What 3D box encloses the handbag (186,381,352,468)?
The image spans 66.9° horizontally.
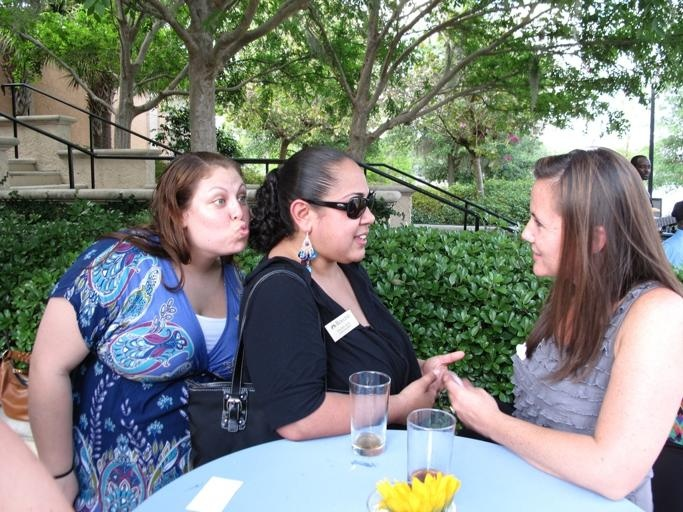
[{"bbox_3d":[-0.480,0.721,2.286,0.170,0.329,0.350,-6,-10,40],"label":"handbag"}]

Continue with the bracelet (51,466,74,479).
[{"bbox_3d":[-1.244,0.977,2.335,0.093,0.049,0.046,-6,9,-43],"label":"bracelet"}]

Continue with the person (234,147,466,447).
[{"bbox_3d":[0.052,0.145,2.499,0.944,1.237,1.321,3,6,14],"label":"person"}]
